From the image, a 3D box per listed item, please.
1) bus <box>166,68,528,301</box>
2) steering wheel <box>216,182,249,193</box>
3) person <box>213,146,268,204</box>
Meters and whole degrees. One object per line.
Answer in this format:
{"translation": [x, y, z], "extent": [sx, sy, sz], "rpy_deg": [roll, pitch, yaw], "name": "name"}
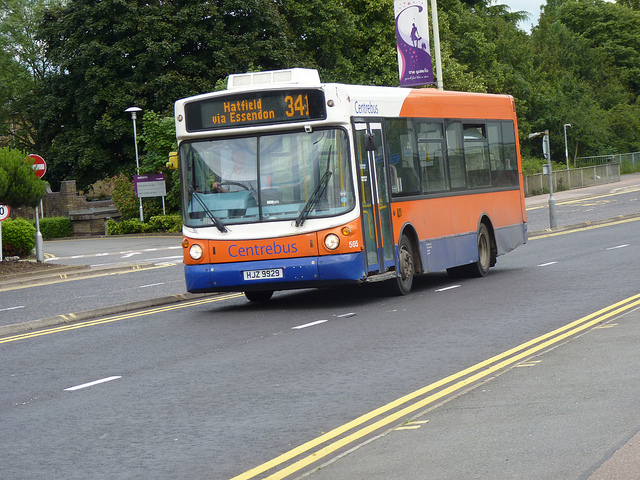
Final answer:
{"translation": [1.829, -1.286, 14.800], "extent": [10.637, 4.899, 3.371], "rpy_deg": [-6, 3, -42], "name": "bus"}
{"translation": [-1.705, -1.047, 11.977], "extent": [0.663, 0.139, 0.029], "rpy_deg": [-3, 2, 13], "name": "steering wheel"}
{"translation": [-1.589, -1.346, 11.934], "extent": [0.707, 0.615, 1.174], "rpy_deg": [3, 10, 15], "name": "person"}
